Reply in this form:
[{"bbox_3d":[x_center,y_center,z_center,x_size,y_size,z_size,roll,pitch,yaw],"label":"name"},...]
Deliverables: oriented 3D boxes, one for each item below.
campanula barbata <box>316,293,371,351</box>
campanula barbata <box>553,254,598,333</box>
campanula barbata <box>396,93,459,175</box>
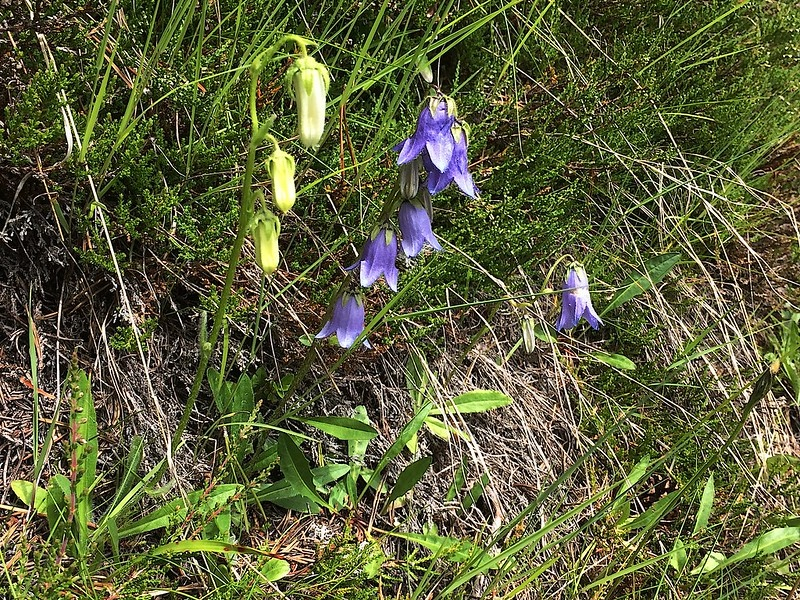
[{"bbox_3d":[-0.258,0.121,3.230,0.279,0.253,0.147,-5,48,-21],"label":"campanula barbata"},{"bbox_3d":[0.933,-0.019,3.773,0.182,0.358,0.232,3,2,41],"label":"campanula barbata"},{"bbox_3d":[0.163,-0.717,2.950,0.256,0.368,0.240,16,14,19],"label":"campanula barbata"}]
